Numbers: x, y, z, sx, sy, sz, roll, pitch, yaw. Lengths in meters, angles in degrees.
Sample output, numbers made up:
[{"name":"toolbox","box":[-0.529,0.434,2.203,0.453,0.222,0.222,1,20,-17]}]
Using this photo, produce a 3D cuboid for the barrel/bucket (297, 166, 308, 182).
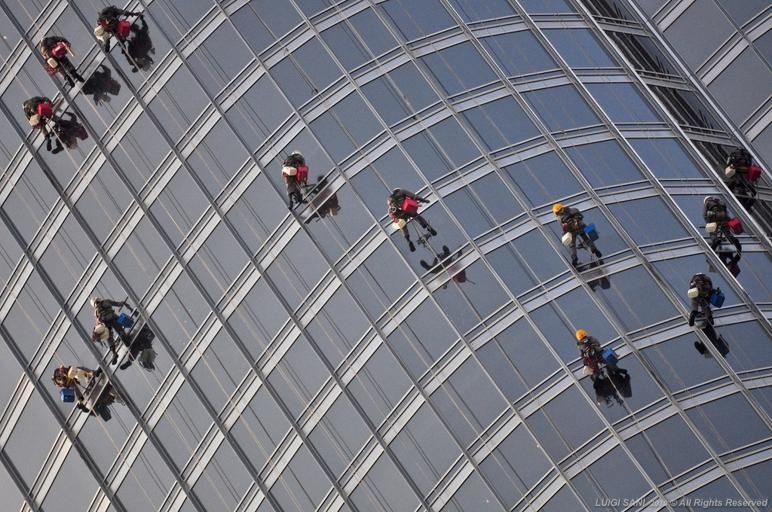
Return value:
[{"name":"barrel/bucket","box":[-4.536,-4.357,146.163,0.578,0.523,0.747,8,-46,-7]}]

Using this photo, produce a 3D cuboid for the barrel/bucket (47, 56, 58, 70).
[{"name":"barrel/bucket","box":[-18.267,-10.658,150.085,0.515,0.292,0.699,-16,-48,16]}]

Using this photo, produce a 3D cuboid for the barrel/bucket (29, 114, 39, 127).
[{"name":"barrel/bucket","box":[-19.288,-7.434,150.262,0.517,0.581,0.597,-18,-19,-3]}]

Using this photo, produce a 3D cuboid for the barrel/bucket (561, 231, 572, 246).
[{"name":"barrel/bucket","box":[9.612,-0.779,145.393,0.668,0.668,0.668,-6,-75,-21]}]

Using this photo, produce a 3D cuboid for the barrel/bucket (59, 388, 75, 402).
[{"name":"barrel/bucket","box":[-17.272,8.021,149.007,0.739,0.736,0.731,4,-20,2]}]

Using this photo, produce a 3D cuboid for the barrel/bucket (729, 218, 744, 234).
[{"name":"barrel/bucket","box":[18.699,-1.454,146.849,0.598,0.377,0.695,-38,-78,-16]}]

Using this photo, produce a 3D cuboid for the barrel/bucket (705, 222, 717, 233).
[{"name":"barrel/bucket","box":[17.400,-1.396,146.665,0.612,0.362,0.520,-10,-47,11]}]

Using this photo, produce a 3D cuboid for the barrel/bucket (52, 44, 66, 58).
[{"name":"barrel/bucket","box":[-17.879,-11.424,149.877,0.773,0.620,0.672,-19,-64,0]}]

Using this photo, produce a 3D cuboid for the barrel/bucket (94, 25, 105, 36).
[{"name":"barrel/bucket","box":[-15.699,-12.557,149.779,0.458,0.628,0.568,22,-43,11]}]

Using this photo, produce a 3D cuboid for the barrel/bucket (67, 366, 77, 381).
[{"name":"barrel/bucket","box":[-17.121,6.771,148.919,0.469,0.751,0.188,-4,-1,-17]}]

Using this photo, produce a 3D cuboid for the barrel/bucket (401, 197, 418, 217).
[{"name":"barrel/bucket","box":[1.214,-2.542,144.978,0.874,0.606,0.723,20,-48,-18]}]

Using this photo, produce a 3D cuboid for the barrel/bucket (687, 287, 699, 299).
[{"name":"barrel/bucket","box":[16.180,2.171,144.316,0.648,0.459,0.540,-16,-48,17]}]

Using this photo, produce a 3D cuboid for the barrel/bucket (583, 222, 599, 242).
[{"name":"barrel/bucket","box":[10.855,-1.099,145.436,0.482,0.685,1.079,-23,-51,23]}]

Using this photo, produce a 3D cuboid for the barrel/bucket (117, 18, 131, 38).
[{"name":"barrel/bucket","box":[-14.334,-12.578,149.405,0.485,0.553,0.883,-25,-30,-40]}]

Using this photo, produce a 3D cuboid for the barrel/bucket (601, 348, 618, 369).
[{"name":"barrel/bucket","box":[11.687,5.643,143.307,0.669,0.922,0.349,-35,-2,-18]}]
